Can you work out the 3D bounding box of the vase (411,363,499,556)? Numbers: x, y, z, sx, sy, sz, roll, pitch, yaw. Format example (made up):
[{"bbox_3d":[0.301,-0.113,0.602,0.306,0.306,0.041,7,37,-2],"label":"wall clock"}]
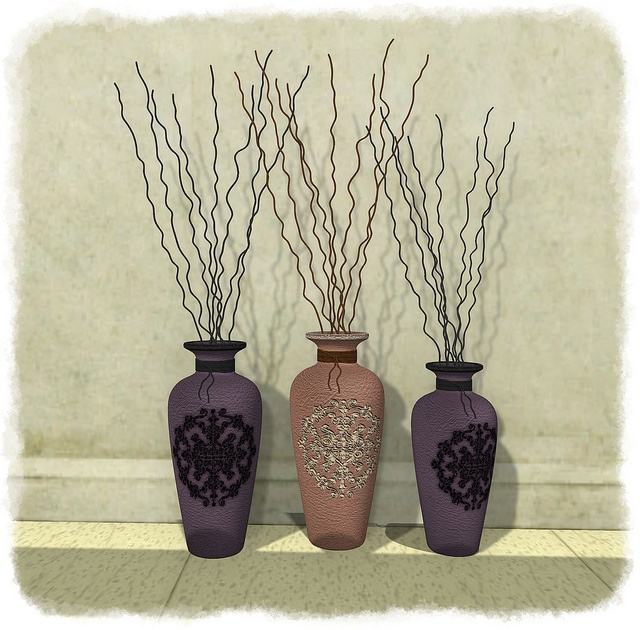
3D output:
[{"bbox_3d":[0.424,0.467,2.474,0.272,0.615,0.152,4,10,5],"label":"vase"}]

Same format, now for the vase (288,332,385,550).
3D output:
[{"bbox_3d":[0.046,0.412,2.509,0.272,0.698,0.212,11,12,39],"label":"vase"}]

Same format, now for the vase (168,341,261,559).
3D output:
[{"bbox_3d":[-0.343,0.436,2.460,0.295,0.675,0.186,2,10,-11],"label":"vase"}]
